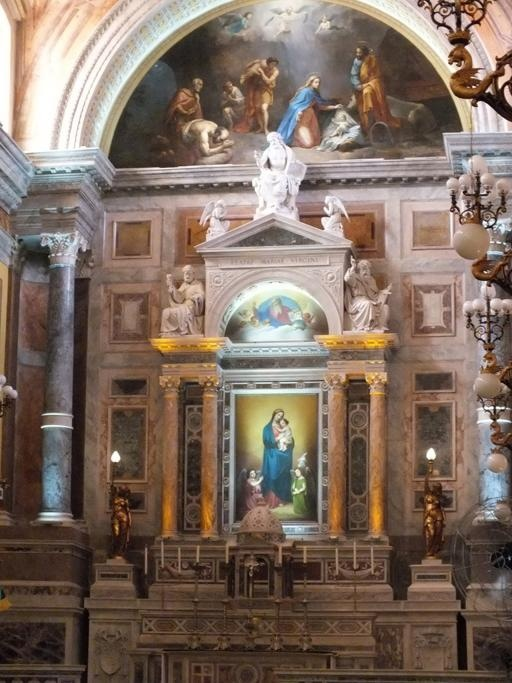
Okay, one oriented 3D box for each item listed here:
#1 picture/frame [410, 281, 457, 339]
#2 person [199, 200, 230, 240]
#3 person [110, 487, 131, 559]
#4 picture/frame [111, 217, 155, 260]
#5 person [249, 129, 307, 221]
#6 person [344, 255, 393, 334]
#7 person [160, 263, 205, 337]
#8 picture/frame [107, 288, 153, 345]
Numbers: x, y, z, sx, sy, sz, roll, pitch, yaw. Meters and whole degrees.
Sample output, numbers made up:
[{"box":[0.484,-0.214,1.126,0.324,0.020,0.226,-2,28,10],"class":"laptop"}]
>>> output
[{"box":[2.507,-0.436,24.020,0.866,1.041,0.072,0,-14,9],"class":"picture/frame"},{"box":[-0.599,-1.737,24.460,0.436,0.829,0.841,0,-15,-1],"class":"person"},{"box":[-1.814,2.398,22.847,0.227,0.949,0.289,1,-15,-6],"class":"person"},{"box":[-1.820,-1.529,25.086,0.583,0.553,0.569,-3,-8,3],"class":"picture/frame"},{"box":[0.317,-2.342,24.187,0.732,1.259,0.418,-1,-15,0],"class":"person"},{"box":[1.517,-0.646,23.644,0.593,1.075,0.322,-1,-15,2],"class":"person"},{"box":[-1.028,-0.589,24.114,0.606,1.103,0.329,1,-15,-4],"class":"person"},{"box":[-1.808,-0.357,24.713,0.817,1.012,0.125,-3,-21,4],"class":"picture/frame"}]
